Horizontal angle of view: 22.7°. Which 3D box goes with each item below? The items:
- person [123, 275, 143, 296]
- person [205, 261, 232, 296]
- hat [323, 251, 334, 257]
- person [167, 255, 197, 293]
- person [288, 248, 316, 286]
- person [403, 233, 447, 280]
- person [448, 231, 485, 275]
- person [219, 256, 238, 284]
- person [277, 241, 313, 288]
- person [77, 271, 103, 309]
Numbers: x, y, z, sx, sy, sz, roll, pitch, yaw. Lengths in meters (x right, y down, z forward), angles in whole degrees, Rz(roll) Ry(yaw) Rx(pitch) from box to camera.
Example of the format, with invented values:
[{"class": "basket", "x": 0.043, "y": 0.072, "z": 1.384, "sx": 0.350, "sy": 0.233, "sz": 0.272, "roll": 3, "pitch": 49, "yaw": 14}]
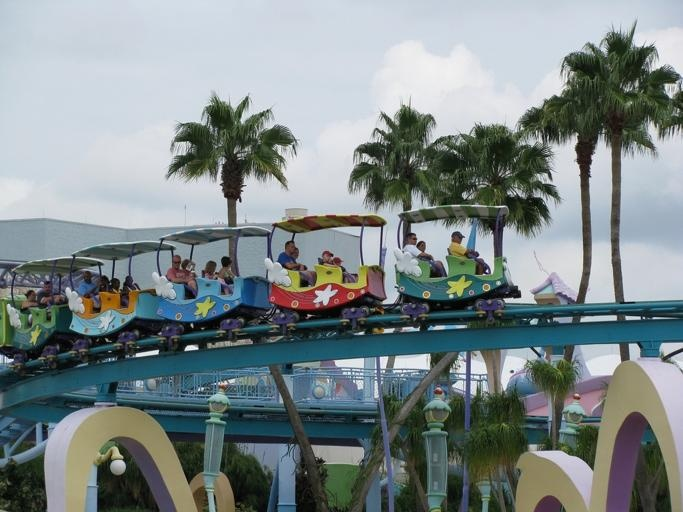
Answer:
[{"class": "person", "x": -6.418, "y": 0.805, "z": 51.516, "sx": 0.485, "sy": 0.588, "sz": 2.434, "roll": 0, "pitch": 0, "yaw": -8}, {"class": "person", "x": -3.533, "y": 0.617, "z": 50.319, "sx": 0.646, "sy": 0.987, "sz": 0.990, "roll": -9, "pitch": -3, "yaw": -33}, {"class": "hat", "x": -0.441, "y": -0.112, "z": 49.257, "sx": 0.225, "sy": 0.141, "sz": 0.164, "roll": -16, "pitch": -10, "yaw": 23}, {"class": "person", "x": -4.723, "y": 0.519, "z": 50.399, "sx": 1.130, "sy": 1.162, "sz": 0.749, "roll": -1, "pitch": 0, "yaw": 31}, {"class": "person", "x": -1.088, "y": 0.276, "z": 49.873, "sx": 0.731, "sy": 1.139, "sz": 2.036, "roll": 0, "pitch": 0, "yaw": -2}, {"class": "person", "x": 2.387, "y": 0.062, "z": 49.109, "sx": 0.849, "sy": 1.770, "sz": 0.688, "roll": -15, "pitch": -4, "yaw": 1}, {"class": "person", "x": 3.735, "y": 0.021, "z": 49.017, "sx": 1.079, "sy": 1.658, "sz": 0.659, "roll": -6, "pitch": -13, "yaw": 7}, {"class": "person", "x": -3.424, "y": 0.404, "z": 51.479, "sx": 0.515, "sy": 0.936, "sz": 0.520, "roll": 5, "pitch": 15, "yaw": 12}, {"class": "person", "x": -1.281, "y": 0.342, "z": 49.528, "sx": 1.041, "sy": 1.854, "sz": 0.688, "roll": -9, "pitch": -13, "yaw": 14}, {"class": "person", "x": -7.742, "y": 1.003, "z": 51.913, "sx": 0.672, "sy": 1.180, "sz": 1.583, "roll": 0, "pitch": 0, "yaw": -9}]
